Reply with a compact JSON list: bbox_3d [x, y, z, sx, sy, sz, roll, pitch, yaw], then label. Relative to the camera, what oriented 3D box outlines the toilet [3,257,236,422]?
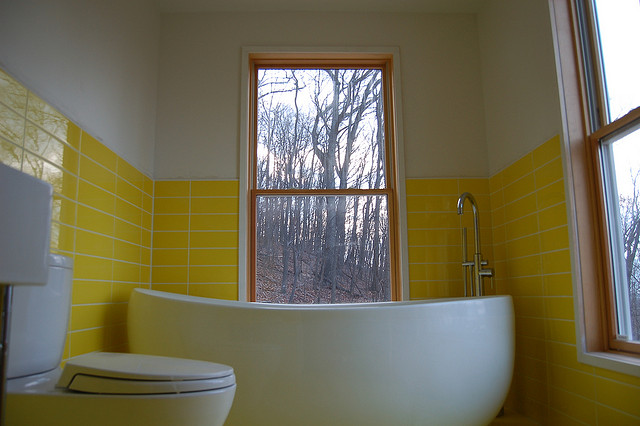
[{"bbox_3d":[-0.903,0.522,2.038,1.036,0.771,0.599,2,-5,-11],"label":"toilet"}]
